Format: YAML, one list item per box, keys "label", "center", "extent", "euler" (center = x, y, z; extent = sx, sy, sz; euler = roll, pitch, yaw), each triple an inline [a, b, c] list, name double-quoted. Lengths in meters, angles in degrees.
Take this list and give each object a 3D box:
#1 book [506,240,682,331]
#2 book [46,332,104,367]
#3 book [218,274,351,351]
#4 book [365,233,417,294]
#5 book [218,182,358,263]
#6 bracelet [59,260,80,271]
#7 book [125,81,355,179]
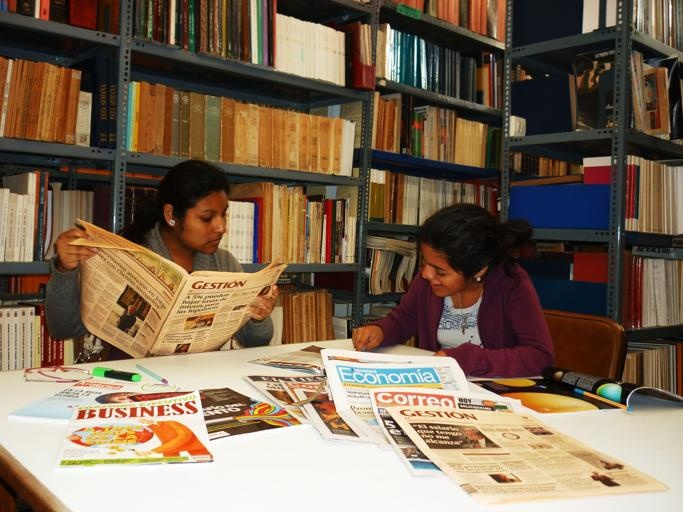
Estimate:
- label: "book"
  center: [1.335, 0.131, 2.789]
  extent: [0.726, 0.209, 0.510]
  euler: [-2, 4, -38]
- label: "book"
  center: [-0.999, 0.366, 2.167]
  extent: [0.247, 0.068, 0.246]
  euler: [9, -22, -42]
- label: "book"
  center: [-0.185, 0.310, 2.933]
  extent: [0.107, 0.276, 0.473]
  euler: [-2, 1, 43]
- label: "book"
  center: [0.268, 0.039, 3.197]
  extent: [0.284, 0.315, 0.121]
  euler: [-1, 3, -37]
- label: "book"
  center: [-0.275, -0.138, 2.901]
  extent: [0.779, 0.445, 0.407]
  euler: [5, -5, -37]
- label: "bracelet"
  center: [-0.817, 0.032, 1.722]
  extent: [0.044, 0.027, 0.038]
  euler: [3, 10, 6]
- label: "book"
  center: [-0.407, -0.552, 2.621]
  extent: [1.121, 0.389, 0.090]
  euler: [-7, 14, -35]
